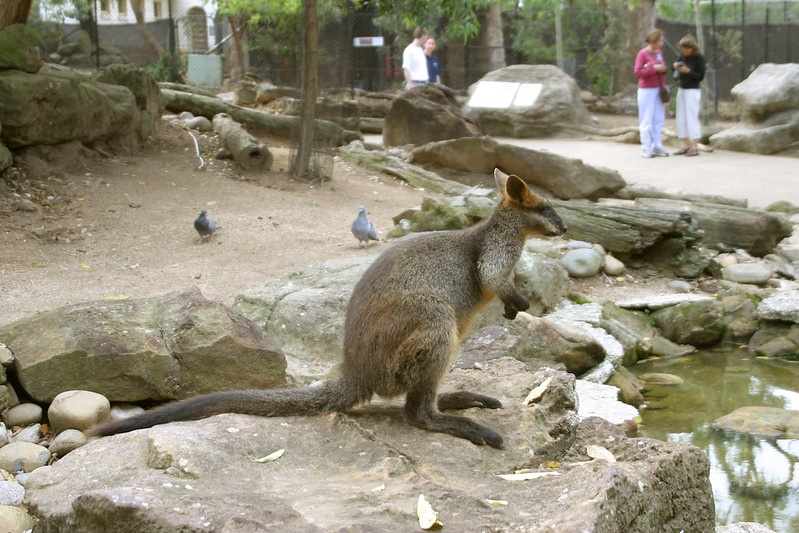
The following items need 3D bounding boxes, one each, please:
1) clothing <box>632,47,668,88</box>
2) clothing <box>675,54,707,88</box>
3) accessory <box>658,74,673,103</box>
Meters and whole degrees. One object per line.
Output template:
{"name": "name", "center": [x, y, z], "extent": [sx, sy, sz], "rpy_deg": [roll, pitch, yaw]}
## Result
{"name": "clothing", "center": [5.702, -4.464, 17.661], "extent": [0.913, 0.866, 0.630], "rpy_deg": [-12, 20, -29]}
{"name": "clothing", "center": [6.610, -4.440, 17.755], "extent": [0.563, 0.760, 0.403], "rpy_deg": [4, 14, 17]}
{"name": "accessory", "center": [6.224, -4.054, 18.145], "extent": [0.342, 0.793, 0.796], "rpy_deg": [-5, 12, 14]}
